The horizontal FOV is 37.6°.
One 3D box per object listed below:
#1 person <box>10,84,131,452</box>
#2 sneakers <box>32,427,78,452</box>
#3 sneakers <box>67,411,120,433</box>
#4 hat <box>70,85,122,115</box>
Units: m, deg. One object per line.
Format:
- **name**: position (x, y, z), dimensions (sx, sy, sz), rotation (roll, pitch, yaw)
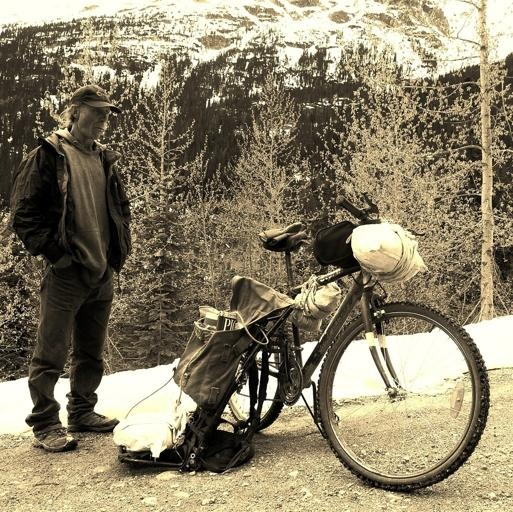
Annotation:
- **person**: position (-1.478, 0.063, 6.067), dimensions (0.454, 2.879, 0.991), rotation (3, 6, 39)
- **sneakers**: position (-1.561, 1.422, 5.864), dimensions (0.338, 0.173, 0.158), rotation (-4, -4, 22)
- **sneakers**: position (-1.353, 1.393, 6.349), dimensions (0.472, 0.236, 0.179), rotation (-1, -3, -5)
- **hat**: position (-1.288, -1.274, 6.073), dimensions (0.295, 0.172, 0.209), rotation (3, 10, 17)
